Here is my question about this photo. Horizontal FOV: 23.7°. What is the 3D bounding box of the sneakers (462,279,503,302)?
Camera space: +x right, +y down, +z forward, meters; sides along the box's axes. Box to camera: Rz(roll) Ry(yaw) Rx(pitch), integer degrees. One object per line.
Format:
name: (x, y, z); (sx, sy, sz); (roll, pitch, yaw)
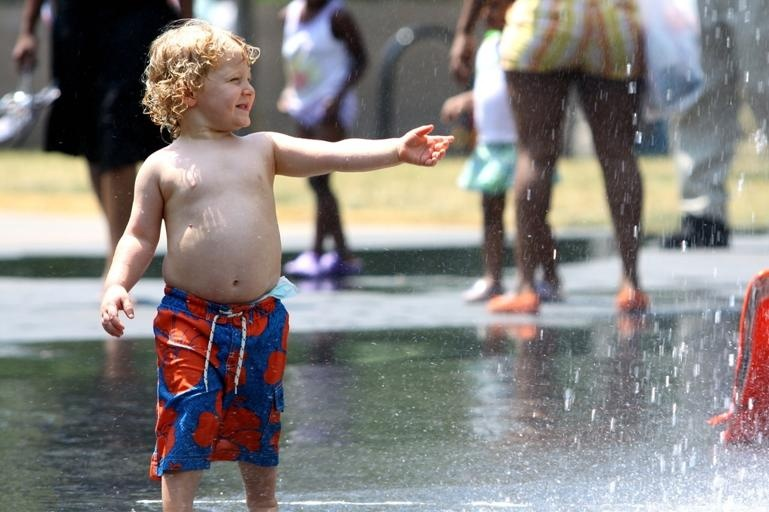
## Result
sneakers: (0.408, 0.156, 7.683); (0.087, 0.064, 0.156); (-8, 4, -37)

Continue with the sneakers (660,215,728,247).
sneakers: (1.506, -0.106, 8.750); (0.223, 0.074, 0.223); (4, 11, 28)

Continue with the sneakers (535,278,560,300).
sneakers: (0.676, 0.149, 7.615); (0.048, 0.067, 0.117); (-12, -4, 23)

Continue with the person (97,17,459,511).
person: (-0.486, 0.048, 6.338); (0.990, 1.704, 0.430); (-6, 12, -8)

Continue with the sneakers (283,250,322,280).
sneakers: (-0.383, 0.046, 8.781); (0.138, 0.053, 0.149); (-3, 23, 9)
